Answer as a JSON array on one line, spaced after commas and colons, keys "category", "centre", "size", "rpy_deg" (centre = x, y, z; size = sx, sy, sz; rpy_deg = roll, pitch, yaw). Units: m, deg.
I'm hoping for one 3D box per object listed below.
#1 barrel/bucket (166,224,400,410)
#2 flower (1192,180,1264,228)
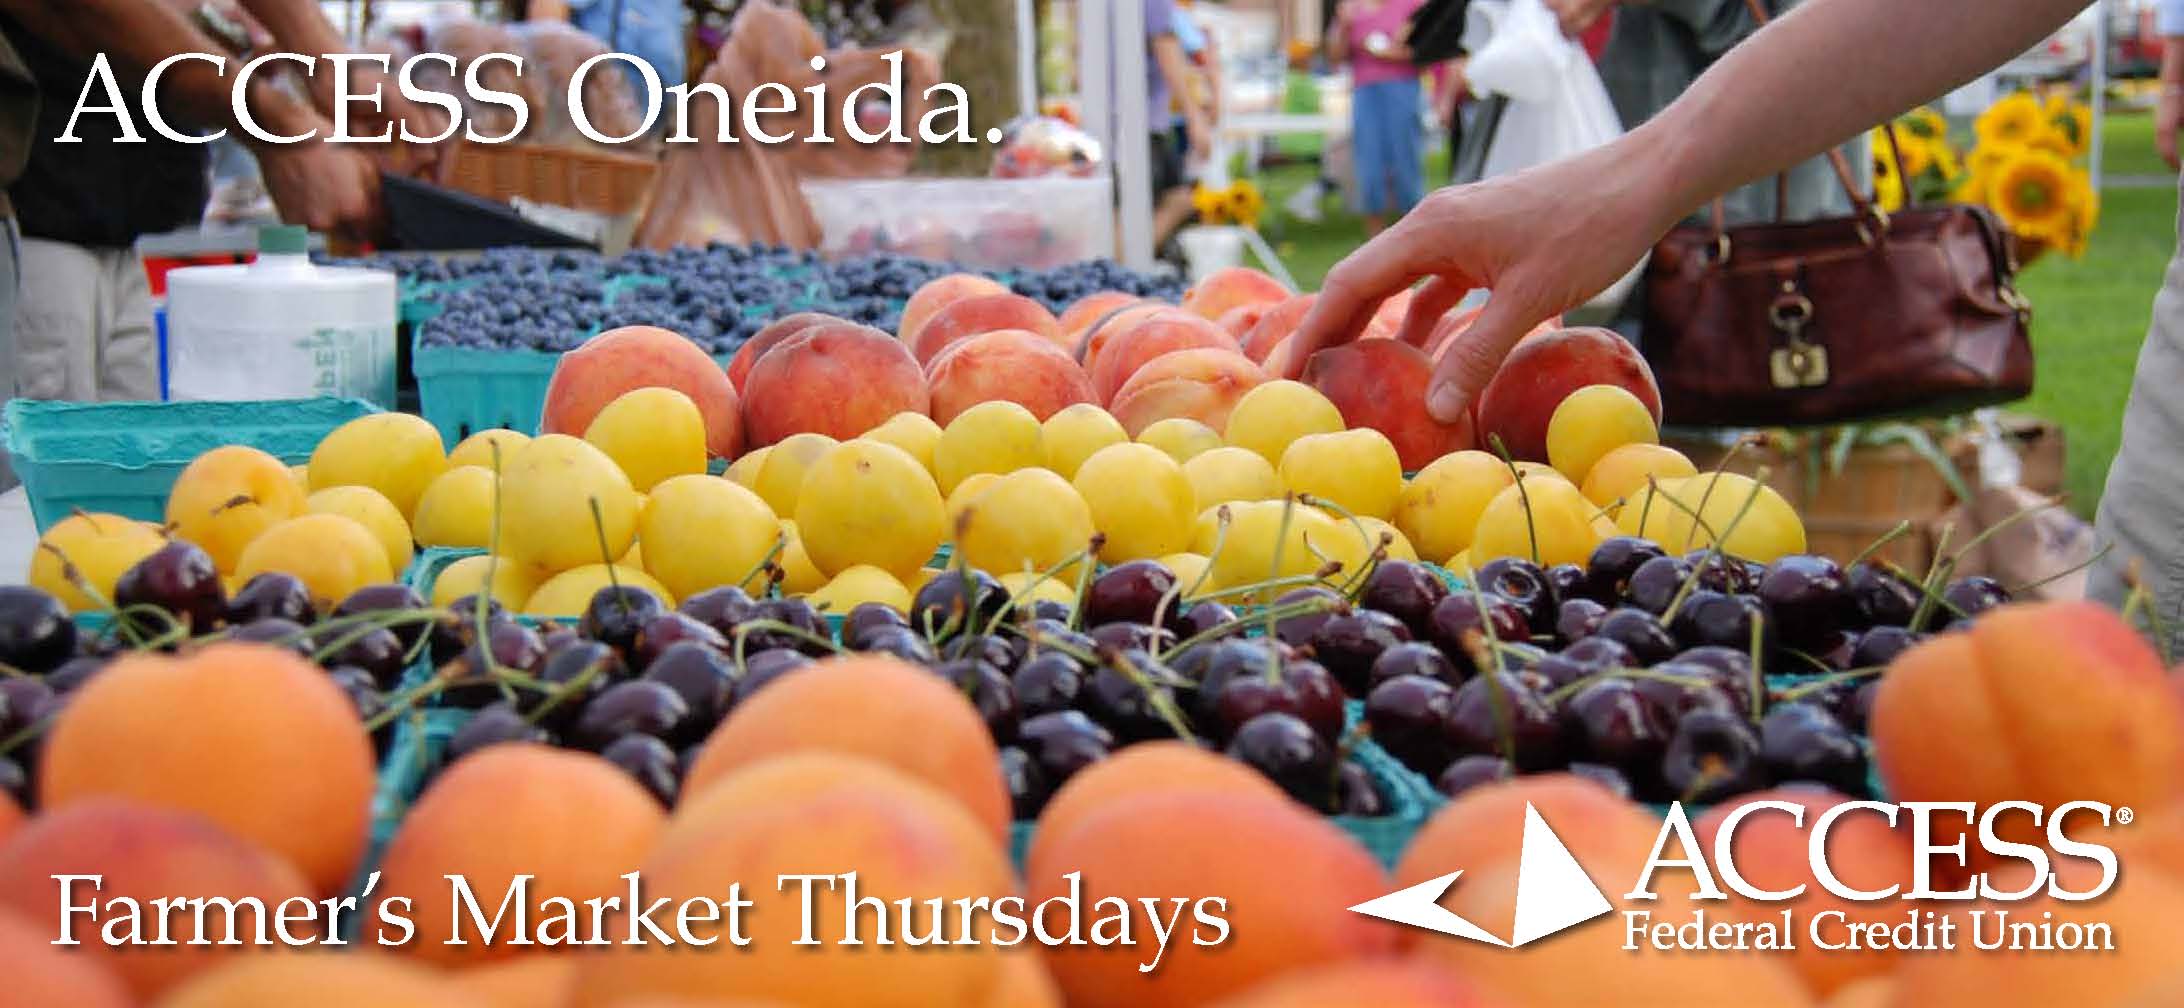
[{"category": "barrel/bucket", "centre": [-2.628, -0.543, 5.704], "size": [0.688, 0.705, 0.667], "rpy_deg": [1, -1, 0]}, {"category": "flower", "centre": [0.876, -1.931, 11.190], "size": [0.423, 0.390, 0.212], "rpy_deg": [-21, 14, -35]}]
